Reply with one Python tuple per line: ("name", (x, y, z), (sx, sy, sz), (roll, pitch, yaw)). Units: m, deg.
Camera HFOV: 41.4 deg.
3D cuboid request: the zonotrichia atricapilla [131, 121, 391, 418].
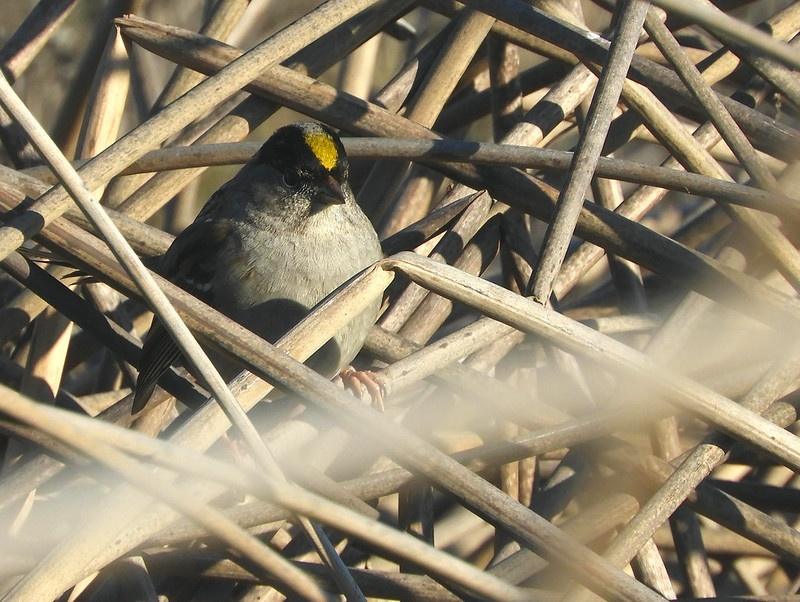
("zonotrichia atricapilla", (-0.356, -0.169, 4.225), (1.046, 1.566, 1.080), (-4, -76, -10))
